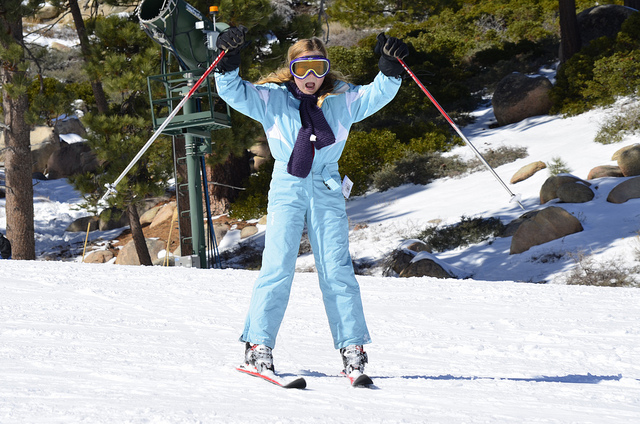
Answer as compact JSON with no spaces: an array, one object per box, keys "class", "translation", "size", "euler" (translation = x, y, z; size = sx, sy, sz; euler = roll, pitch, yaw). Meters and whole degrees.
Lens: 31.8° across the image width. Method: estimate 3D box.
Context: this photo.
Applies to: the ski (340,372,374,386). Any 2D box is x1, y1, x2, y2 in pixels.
[{"class":"ski","translation":[0.747,3.216,21.605],"size":[0.507,0.217,0.139],"euler":[-3,-4,3]}]
